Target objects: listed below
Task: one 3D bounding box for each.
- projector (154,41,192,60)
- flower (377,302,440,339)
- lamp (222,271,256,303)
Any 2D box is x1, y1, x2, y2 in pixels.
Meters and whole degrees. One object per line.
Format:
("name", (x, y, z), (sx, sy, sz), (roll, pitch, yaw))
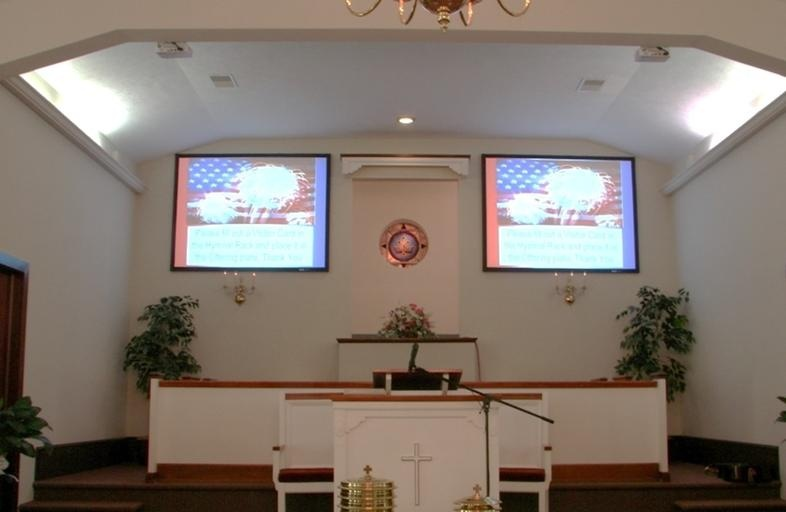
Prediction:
("projector", (-2.565, -2.391, 6.934), (0.347, 0.319, 0.081), (-3, -54, -3))
("flower", (0.286, 1.063, 9.459), (0.638, 0.368, 0.637), (-15, -19, -12))
("lamp", (-2.518, 0.528, 9.718), (0.496, 0.520, 0.108), (1, -13, -8))
